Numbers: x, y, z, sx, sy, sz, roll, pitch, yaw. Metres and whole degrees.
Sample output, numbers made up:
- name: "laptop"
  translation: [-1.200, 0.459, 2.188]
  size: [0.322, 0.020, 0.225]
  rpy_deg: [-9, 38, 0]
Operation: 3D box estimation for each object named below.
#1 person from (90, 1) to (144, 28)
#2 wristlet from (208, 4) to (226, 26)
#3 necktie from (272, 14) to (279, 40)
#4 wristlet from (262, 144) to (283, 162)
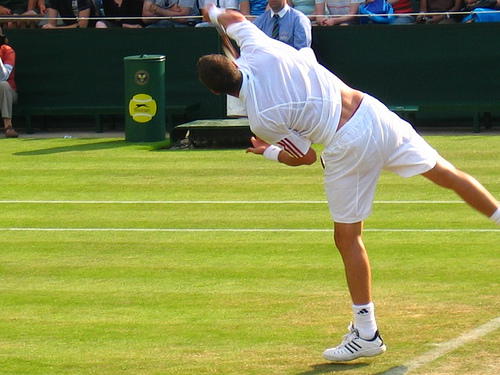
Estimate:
- name: "person"
  translation: [-2.311, -3.000, 18.945]
  size: [0.954, 0.455, 1.045]
  rpy_deg: [-3, 10, -6]
- name: "wristlet"
  translation: [-0.316, -1.670, 10.404]
  size: [0.119, 0.267, 0.109]
  rpy_deg: [-11, -34, -3]
- name: "necktie"
  translation: [0.385, -2.335, 15.876]
  size: [0.102, 0.360, 0.112]
  rpy_deg: [0, 12, 15]
- name: "wristlet"
  translation: [0.235, -0.342, 10.547]
  size: [0.169, 0.182, 0.292]
  rpy_deg: [-6, 11, -17]
